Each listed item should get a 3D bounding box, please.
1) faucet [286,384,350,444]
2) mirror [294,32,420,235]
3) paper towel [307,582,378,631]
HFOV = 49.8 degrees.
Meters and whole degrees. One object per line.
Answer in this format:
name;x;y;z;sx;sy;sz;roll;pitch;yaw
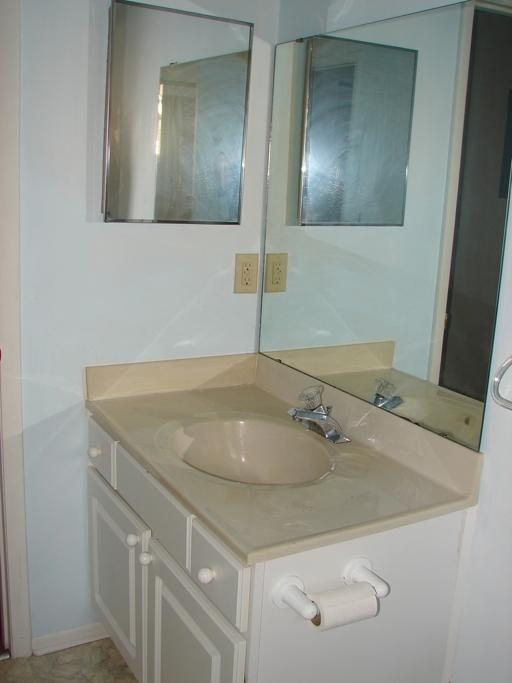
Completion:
faucet;0.154;0.204;1.389;0.113;0.075;0.141;-13;40;-33
mirror;0.252;-0.514;1.340;0.024;0.568;0.489;-10;20;-28
paper towel;0.134;0.394;0.828;0.114;0.044;0.039;-3;11;-30
